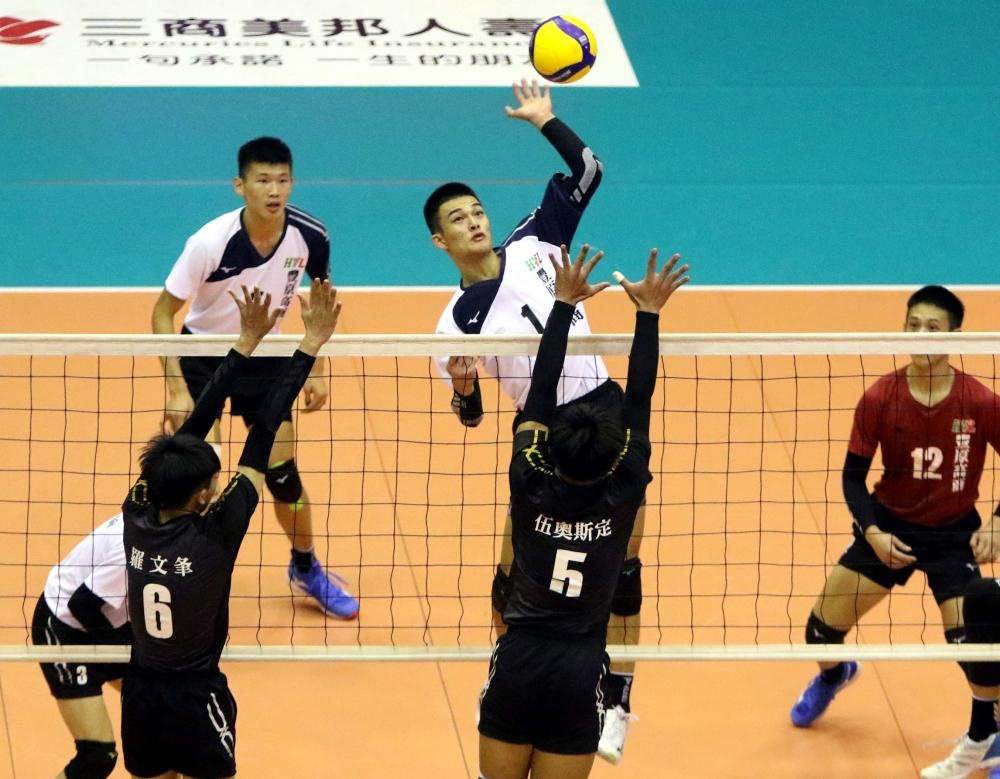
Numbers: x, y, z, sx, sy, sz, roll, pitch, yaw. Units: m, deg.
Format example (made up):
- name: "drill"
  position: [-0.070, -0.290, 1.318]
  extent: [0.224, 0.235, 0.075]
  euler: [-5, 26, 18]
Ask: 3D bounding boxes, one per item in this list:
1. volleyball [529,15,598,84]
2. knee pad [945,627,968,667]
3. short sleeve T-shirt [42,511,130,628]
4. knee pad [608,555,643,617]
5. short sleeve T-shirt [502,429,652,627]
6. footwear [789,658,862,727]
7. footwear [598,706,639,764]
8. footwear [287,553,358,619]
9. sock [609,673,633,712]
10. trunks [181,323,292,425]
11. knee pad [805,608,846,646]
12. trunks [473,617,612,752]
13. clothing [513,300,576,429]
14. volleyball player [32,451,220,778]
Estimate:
- name: "volleyball"
  position: [0.366, -1.918, 7.031]
  extent: [0.360, 0.368, 0.232]
  euler: [3, 8, 0]
- name: "knee pad"
  position: [2.474, 1.389, 6.714]
  extent: [0.149, 0.137, 0.201]
  euler: [-7, 2, -5]
- name: "short sleeve T-shirt"
  position: [-2.108, 0.948, 6.449]
  extent: [0.495, 0.611, 0.205]
  euler: [5, 8, 17]
- name: "knee pad"
  position: [0.709, 1.077, 6.793]
  extent: [0.182, 0.313, 0.099]
  euler: [5, 2, 1]
- name: "short sleeve T-shirt"
  position: [0.304, 0.756, 6.059]
  extent: [0.645, 1.158, 0.620]
  euler: [8, 28, -2]
- name: "footwear"
  position: [1.907, 1.768, 7.191]
  extent: [0.164, 0.485, 0.208]
  euler: [45, 6, 16]
- name: "footwear"
  position: [0.648, 1.841, 6.689]
  extent: [0.186, 0.280, 0.176]
  euler: [22, -6, 45]
- name: "footwear"
  position: [-1.071, 1.256, 7.855]
  extent: [0.524, 0.242, 0.260]
  euler: [38, 53, 1]
- name: "sock"
  position: [0.657, 1.652, 6.774]
  extent: [0.191, 0.191, 0.051]
  euler: [-1, 8, -26]
- name: "trunks"
  position: [-1.557, -0.081, 7.459]
  extent: [0.675, 0.672, 0.451]
  euler: [-1, 48, -14]
- name: "knee pad"
  position: [1.850, 1.355, 7.020]
  extent: [0.194, 0.206, 0.198]
  euler: [-1, 6, 2]
- name: "trunks"
  position: [0.249, 1.429, 5.985]
  extent: [0.656, 0.613, 0.462]
  euler: [5, -3, 11]
- name: "clothing"
  position: [0.240, -0.198, 6.007]
  extent: [0.121, 0.809, 0.159]
  euler: [8, -30, 12]
- name: "volleyball player"
  position: [-1.878, 1.214, 6.279]
  extent: [0.810, 2.005, 0.700]
  euler: [-7, 39, -31]
